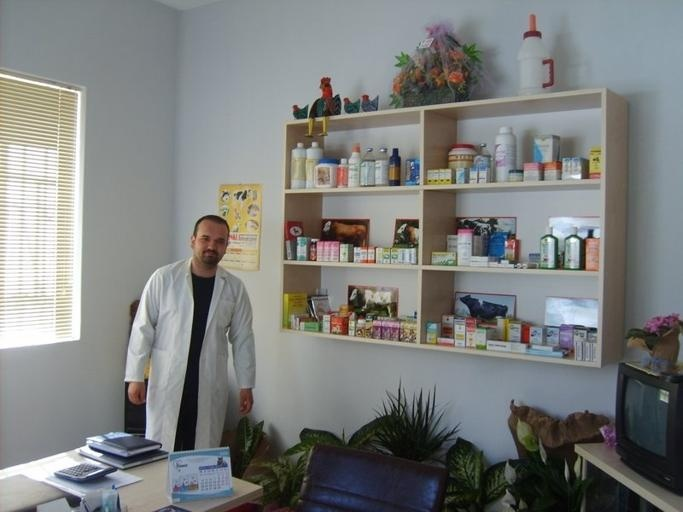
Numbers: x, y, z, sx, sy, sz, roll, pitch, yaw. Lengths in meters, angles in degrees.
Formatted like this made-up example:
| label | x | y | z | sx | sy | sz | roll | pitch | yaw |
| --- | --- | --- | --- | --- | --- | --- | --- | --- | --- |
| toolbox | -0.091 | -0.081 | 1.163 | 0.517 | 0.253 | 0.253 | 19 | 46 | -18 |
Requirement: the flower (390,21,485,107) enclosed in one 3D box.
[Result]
| label | x | y | z | sx | sy | sz | roll | pitch | yaw |
| --- | --- | --- | --- | --- | --- | --- | --- | --- | --- |
| flower | 0.585 | -1.168 | 3.216 | 0.538 | 0.433 | 0.345 | 4 | 21 | 21 |

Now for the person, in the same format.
| label | x | y | z | sx | sy | sz | roll | pitch | yaw |
| --- | --- | --- | --- | --- | --- | --- | --- | --- | --- |
| person | -0.965 | 0.712 | 3.469 | 0.657 | 1.947 | 0.391 | 5 | 16 | -19 |

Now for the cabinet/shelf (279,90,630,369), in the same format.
| label | x | y | z | sx | sy | sz | roll | pitch | yaw |
| --- | --- | --- | --- | --- | --- | --- | --- | --- | --- |
| cabinet/shelf | 0.715 | -0.166 | 3.153 | 1.725 | 1.228 | 0.304 | 0 | -1 | 38 |
